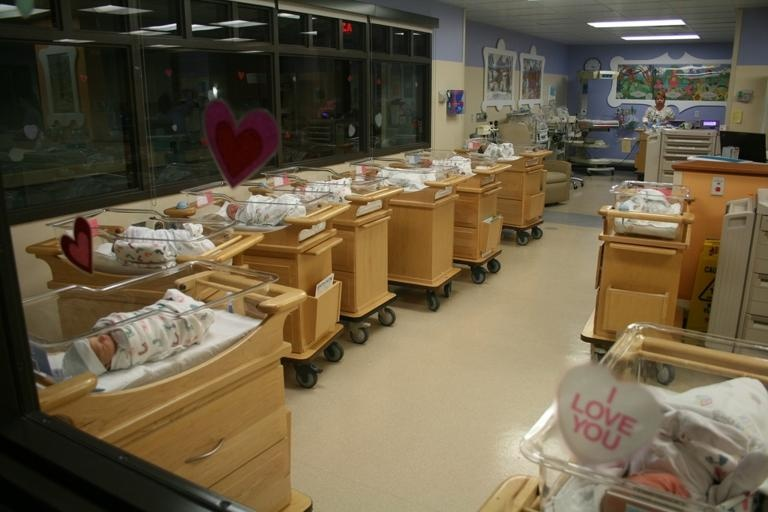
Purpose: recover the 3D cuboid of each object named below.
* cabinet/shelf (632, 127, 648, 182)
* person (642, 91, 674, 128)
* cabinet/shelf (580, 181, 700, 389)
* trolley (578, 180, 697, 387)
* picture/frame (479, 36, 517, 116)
[{"bbox_3d":[6.278,-2.530,12.223,0.237,1.223,0.941,8,21,25],"label":"cabinet/shelf"},{"bbox_3d":[6.642,-3.520,12.114,0.671,0.837,0.563,-4,22,13],"label":"person"},{"bbox_3d":[2.282,0.247,4.090,0.720,1.248,1.483,8,7,44],"label":"cabinet/shelf"},{"bbox_3d":[2.328,0.213,4.065,1.520,1.239,0.723,-5,11,-42],"label":"trolley"},{"bbox_3d":[2.291,-3.713,10.202,0.065,1.550,1.811,3,17,28],"label":"picture/frame"}]
